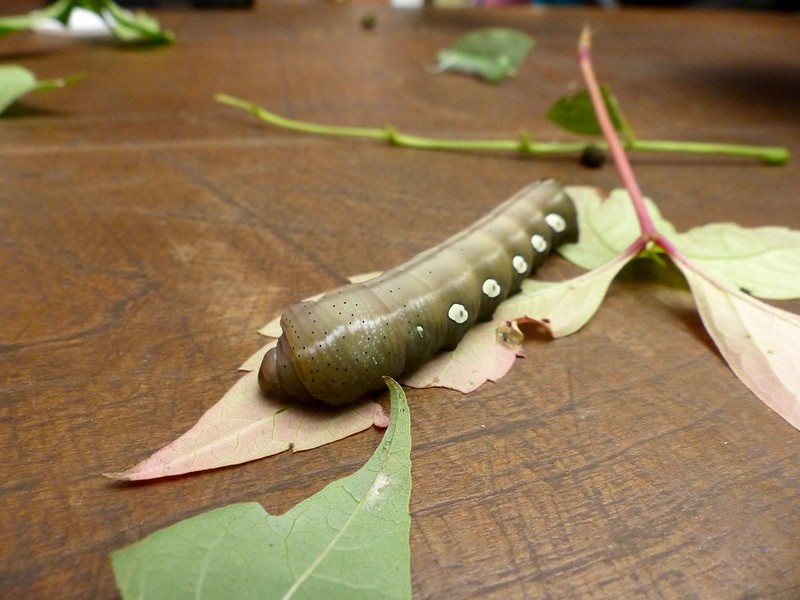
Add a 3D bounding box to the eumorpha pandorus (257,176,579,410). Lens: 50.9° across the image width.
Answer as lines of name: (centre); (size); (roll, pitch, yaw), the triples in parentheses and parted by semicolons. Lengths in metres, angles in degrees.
eumorpha pandorus: (0.053, -0.022, 1.402); (0.624, 0.152, 0.189); (-30, 47, -31)
